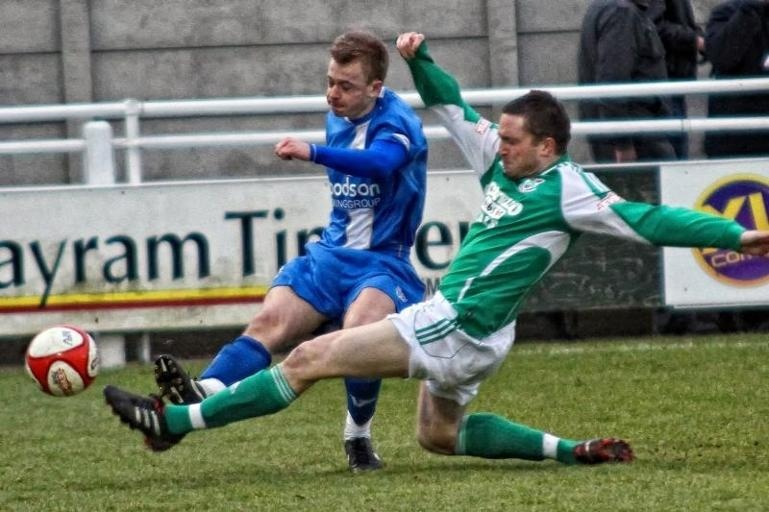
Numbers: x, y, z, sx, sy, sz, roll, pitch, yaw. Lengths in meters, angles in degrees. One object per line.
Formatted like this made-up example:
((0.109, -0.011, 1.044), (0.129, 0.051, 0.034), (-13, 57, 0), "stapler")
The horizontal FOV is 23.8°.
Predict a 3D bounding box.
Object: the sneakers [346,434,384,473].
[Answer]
((-0.136, 1.380, 12.631), (0.168, 0.119, 0.292), (-8, 17, -16), "sneakers")
